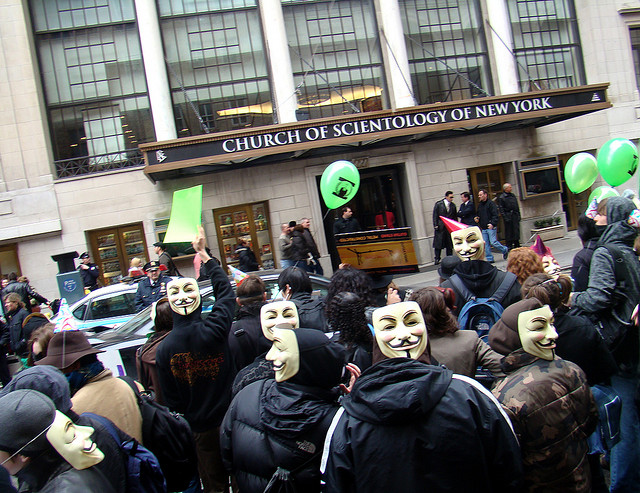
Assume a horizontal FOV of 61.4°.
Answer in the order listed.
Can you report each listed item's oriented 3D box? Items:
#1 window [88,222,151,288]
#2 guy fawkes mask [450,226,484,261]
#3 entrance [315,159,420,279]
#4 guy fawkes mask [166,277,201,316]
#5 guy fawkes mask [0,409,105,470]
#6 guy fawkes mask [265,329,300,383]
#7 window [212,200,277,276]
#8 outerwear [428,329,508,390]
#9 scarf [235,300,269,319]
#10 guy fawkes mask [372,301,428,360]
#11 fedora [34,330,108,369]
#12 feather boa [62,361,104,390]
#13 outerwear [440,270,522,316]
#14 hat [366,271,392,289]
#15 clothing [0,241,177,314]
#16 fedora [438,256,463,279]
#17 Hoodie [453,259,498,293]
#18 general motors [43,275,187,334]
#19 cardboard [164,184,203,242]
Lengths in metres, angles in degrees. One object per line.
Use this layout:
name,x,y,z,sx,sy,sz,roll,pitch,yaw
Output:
window,-5.249,0.178,13.850,2.216,1.835,0.161,-7,7,-3
guy fawkes mask,1.548,-0.033,5.353,0.346,0.260,0.264,-6,5,-42
entrance,0.594,-0.542,15.534,3.298,3.233,2.440,-13,11,-35
guy fawkes mask,-1.144,0.424,4.502,0.254,0.309,0.209,-11,3,-14
guy fawkes mask,-1.398,1.104,3.036,0.096,0.374,0.257,-11,3,19
guy fawkes mask,-0.243,0.699,3.458,0.253,0.326,0.099,-9,4,24
window,-2.035,-0.272,14.034,2.496,2.086,0.097,-6,1,-18
outerwear,1.021,0.784,3.743,0.697,0.257,0.164,-1,7,14
scarf,-0.657,0.590,4.975,0.218,0.091,0.220,-2,0,-1
guy fawkes mask,0.507,0.542,3.356,0.320,0.310,0.282,-10,3,-3
fedora,-1.850,0.712,3.887,0.487,0.208,0.520,-6,4,-45
feather boa,-1.661,0.907,3.786,0.181,0.112,0.222,-13,-13,-38
outerwear,1.456,0.382,4.862,0.505,0.434,0.476,-2,43,6
hat,0.723,0.407,6.308,0.243,0.149,0.371,-8,2,6
clothing,-5.043,1.017,12.132,3.780,1.322,1.875,-4,6,-10
fedora,1.302,0.205,5.326,0.239,0.080,0.244,4,30,38
Hoodie,1.421,0.264,4.868,0.346,0.156,0.323,-2,29,-4
general motors,-3.300,1.038,9.222,2.350,0.591,0.967,-13,12,-21
cardboard,-1.227,-0.283,4.856,0.396,0.513,0.392,-11,3,-4
